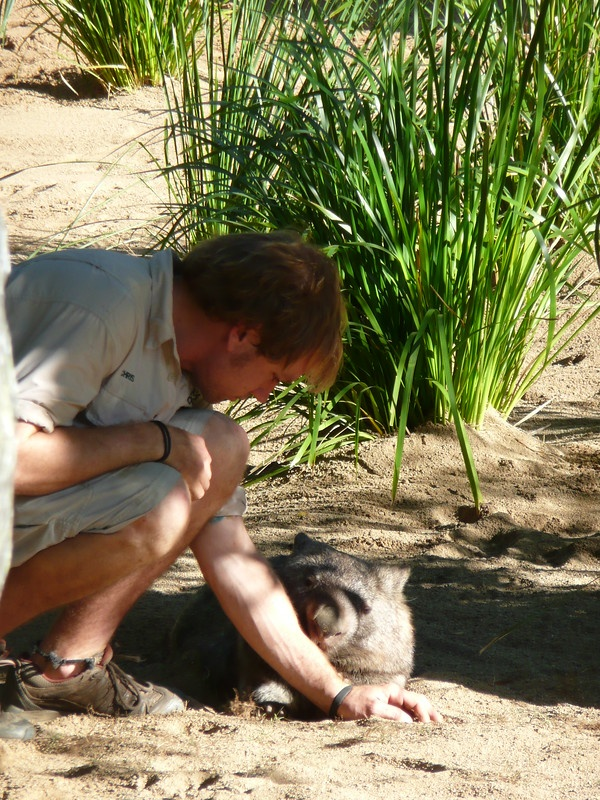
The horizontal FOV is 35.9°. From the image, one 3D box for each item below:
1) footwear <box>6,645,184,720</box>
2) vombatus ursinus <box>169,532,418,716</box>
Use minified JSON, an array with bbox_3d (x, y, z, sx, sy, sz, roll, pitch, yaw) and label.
[{"bbox_3d":[-0.472,0.708,2.313,0.479,0.181,0.158,6,20,-28],"label":"footwear"},{"bbox_3d":[0.022,0.641,2.684,0.699,0.370,0.392,2,2,23],"label":"vombatus ursinus"}]
